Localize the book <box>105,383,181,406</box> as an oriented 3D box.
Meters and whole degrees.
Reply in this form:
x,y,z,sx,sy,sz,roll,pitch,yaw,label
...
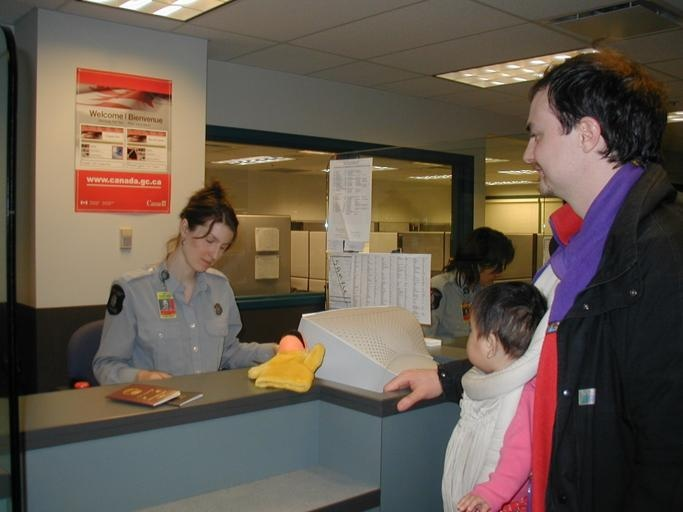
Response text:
x,y,z,sx,sy,sz,roll,pitch,yaw,label
-0.566,0.402,1.495,0.195,0.025,0.114,0,5,21,book

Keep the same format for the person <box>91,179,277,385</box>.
x,y,z,sx,sy,sz,roll,pitch,yaw,label
-0.686,0.122,2.246,0.744,0.877,0.381,-4,6,-32,person

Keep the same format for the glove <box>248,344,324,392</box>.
x,y,z,sx,sy,sz,roll,pitch,yaw,label
-0.165,0.360,1.645,0.164,0.056,0.168,-10,16,-16,glove

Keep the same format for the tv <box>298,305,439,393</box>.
x,y,z,sx,sy,sz,roll,pitch,yaw,label
0.067,0.242,1.743,0.332,0.142,0.285,0,2,-40,tv
